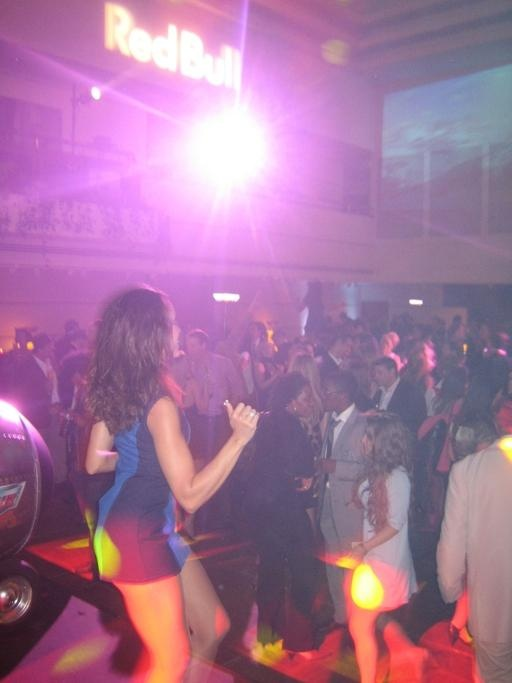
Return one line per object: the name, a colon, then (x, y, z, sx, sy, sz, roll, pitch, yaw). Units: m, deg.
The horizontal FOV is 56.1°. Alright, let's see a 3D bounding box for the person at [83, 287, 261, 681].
person: (-0.285, 0.440, 1.489, 0.559, 1.262, 0.414, 0, -3, -6)
